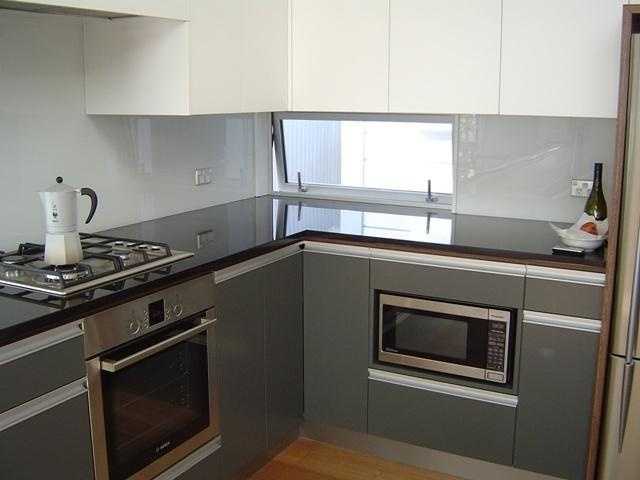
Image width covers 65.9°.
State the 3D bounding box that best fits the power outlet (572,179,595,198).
[{"bbox_3d":[1.467,-0.288,2.749,0.103,0.093,0.011,6,14,29],"label":"power outlet"}]

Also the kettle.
[{"bbox_3d":[-1.035,-0.091,1.998,0.169,0.350,0.205,3,8,20],"label":"kettle"}]

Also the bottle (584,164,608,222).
[{"bbox_3d":[1.479,-0.263,2.626,0.104,0.281,0.264,5,15,30],"label":"bottle"}]

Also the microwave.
[{"bbox_3d":[0.674,0.518,2.666,0.643,0.420,0.379,4,-1,26],"label":"microwave"}]
